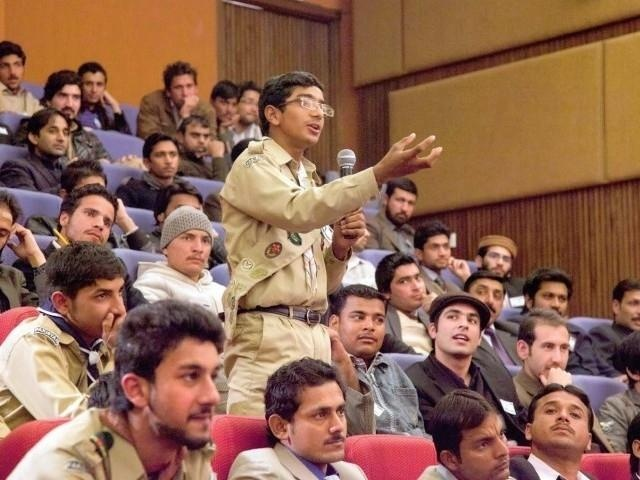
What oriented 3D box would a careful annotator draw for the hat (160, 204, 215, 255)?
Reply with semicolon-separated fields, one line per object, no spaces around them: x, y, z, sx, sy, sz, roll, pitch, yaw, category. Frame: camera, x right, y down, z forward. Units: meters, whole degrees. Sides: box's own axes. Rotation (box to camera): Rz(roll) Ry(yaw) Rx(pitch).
-0.516;-0.031;3.272;0.173;0.164;0.170;6;-5;-39;hat

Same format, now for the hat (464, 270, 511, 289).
0.736;0.172;3.846;0.104;0.057;0.122;-4;-5;-37;hat
